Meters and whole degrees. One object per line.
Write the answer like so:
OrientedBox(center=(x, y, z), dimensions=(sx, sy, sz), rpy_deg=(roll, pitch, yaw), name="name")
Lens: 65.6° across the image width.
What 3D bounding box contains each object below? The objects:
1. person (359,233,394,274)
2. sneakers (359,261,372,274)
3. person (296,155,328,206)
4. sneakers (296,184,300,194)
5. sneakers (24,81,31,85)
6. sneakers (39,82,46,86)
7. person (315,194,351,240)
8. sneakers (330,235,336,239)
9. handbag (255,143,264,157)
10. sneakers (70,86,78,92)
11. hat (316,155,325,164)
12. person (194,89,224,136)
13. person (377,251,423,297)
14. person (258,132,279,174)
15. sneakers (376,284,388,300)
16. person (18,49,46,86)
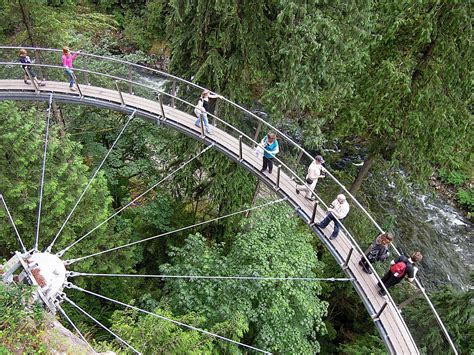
OrientedBox(center=(4.799, 2.632, 12.657), dimensions=(0.513, 1.516, 0.678), rpy_deg=(-13, 63, -22), name="person")
OrientedBox(center=(4.320, 2.988, 12.277), dimensions=(0.150, 0.288, 0.419), rpy_deg=(-35, 60, -12), name="sneakers")
OrientedBox(center=(2.742, 0.015, 13.325), dimensions=(0.939, 1.890, 0.635), rpy_deg=(21, 37, 19), name="person")
OrientedBox(center=(2.278, 0.420, 13.825), dimensions=(0.110, 0.332, 0.114), rpy_deg=(-1, 10, 39), name="sneakers")
OrientedBox(center=(-8.808, -3.951, 15.347), dimensions=(0.219, 0.131, 0.079), rpy_deg=(1, 76, -21), name="sneakers")
OrientedBox(center=(-8.227, -3.916, 15.391), dimensions=(0.239, 0.089, 0.170), rpy_deg=(-10, -2, -31), name="sneakers")
OrientedBox(center=(3.338, 1.348, 12.932), dimensions=(0.695, 1.592, 0.685), rpy_deg=(-23, 65, -15), name="person")
OrientedBox(center=(3.348, 2.061, 12.809), dimensions=(0.177, 0.116, 0.117), rpy_deg=(2, -3, 1), name="sneakers")
OrientedBox(center=(0.887, -1.070, 14.476), dimensions=(0.393, 0.570, 0.725), rpy_deg=(6, 6, -5), name="handbag")
OrientedBox(center=(-6.986, -3.750, 15.602), dimensions=(0.367, 0.150, 0.145), rpy_deg=(11, -8, -33), name="sneakers")
OrientedBox(center=(2.854, -0.622, 12.620), dimensions=(0.311, 0.189, 0.262), rpy_deg=(28, 57, 20), name="hat")
OrientedBox(center=(-1.229, -2.732, 14.847), dimensions=(0.895, 1.795, 0.925), rpy_deg=(19, 30, 0), name="person")
OrientedBox(center=(5.186, 3.058, 11.773), dimensions=(0.763, 2.111, 0.808), rpy_deg=(35, 47, 14), name="person")
OrientedBox(center=(1.134, -0.836, 13.715), dimensions=(0.678, 1.803, 0.665), rpy_deg=(32, 45, 28), name="person")
OrientedBox(center=(4.714, 3.712, 11.955), dimensions=(0.162, 0.185, 0.476), rpy_deg=(-20, 64, -16), name="sneakers")
OrientedBox(center=(-8.489, -4.408, 14.960), dimensions=(0.900, 1.430, 0.988), rpy_deg=(21, 31, 2), name="person")
